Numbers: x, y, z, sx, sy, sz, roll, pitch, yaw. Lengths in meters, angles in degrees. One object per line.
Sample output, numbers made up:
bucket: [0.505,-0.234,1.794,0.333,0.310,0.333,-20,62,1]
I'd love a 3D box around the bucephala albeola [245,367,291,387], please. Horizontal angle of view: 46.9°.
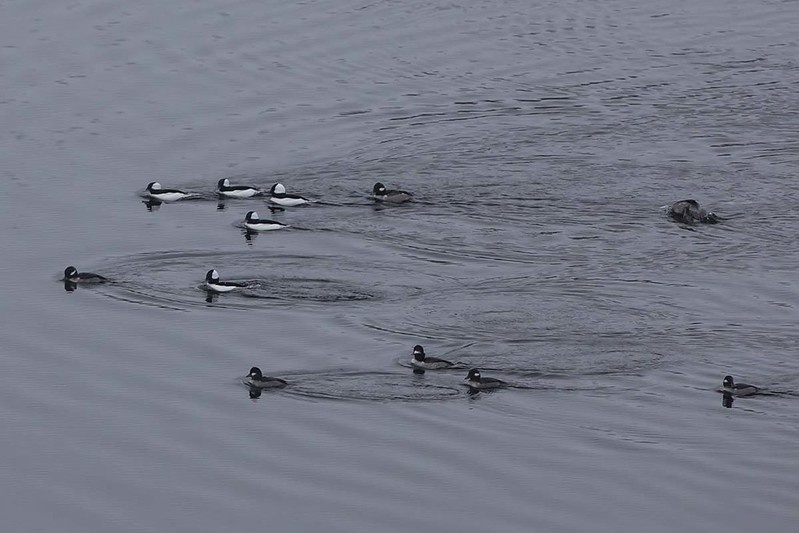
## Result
bucephala albeola: [-4.174,3.479,28.018,1.625,0.567,0.413,5,92,12]
